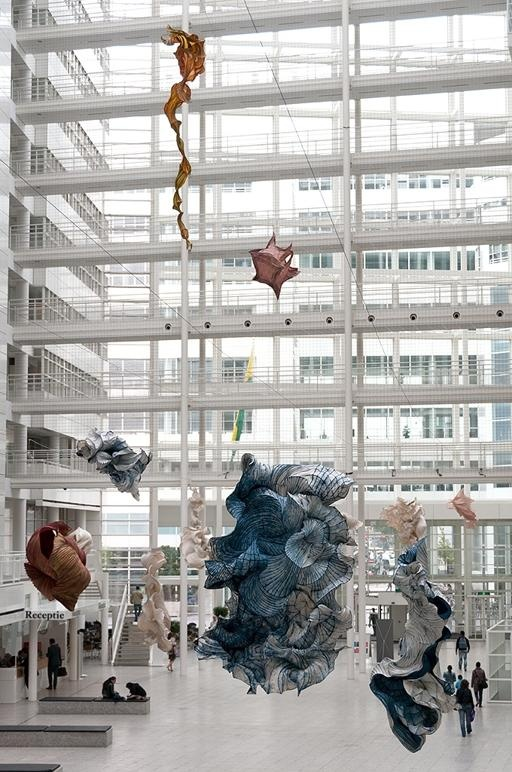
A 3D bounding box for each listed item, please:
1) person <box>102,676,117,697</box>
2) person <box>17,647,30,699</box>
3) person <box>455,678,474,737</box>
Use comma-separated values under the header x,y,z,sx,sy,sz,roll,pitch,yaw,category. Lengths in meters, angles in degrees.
x,y,z,sx,sy,sz,roll,pitch,yaw,category
-3.315,6.803,29.735,0.327,0.509,1.338,1,-9,-6,person
-5.756,7.015,32.394,0.292,1.035,1.690,2,-9,-10,person
4.199,6.392,26.356,0.342,1.292,0.358,-7,13,-14,person
